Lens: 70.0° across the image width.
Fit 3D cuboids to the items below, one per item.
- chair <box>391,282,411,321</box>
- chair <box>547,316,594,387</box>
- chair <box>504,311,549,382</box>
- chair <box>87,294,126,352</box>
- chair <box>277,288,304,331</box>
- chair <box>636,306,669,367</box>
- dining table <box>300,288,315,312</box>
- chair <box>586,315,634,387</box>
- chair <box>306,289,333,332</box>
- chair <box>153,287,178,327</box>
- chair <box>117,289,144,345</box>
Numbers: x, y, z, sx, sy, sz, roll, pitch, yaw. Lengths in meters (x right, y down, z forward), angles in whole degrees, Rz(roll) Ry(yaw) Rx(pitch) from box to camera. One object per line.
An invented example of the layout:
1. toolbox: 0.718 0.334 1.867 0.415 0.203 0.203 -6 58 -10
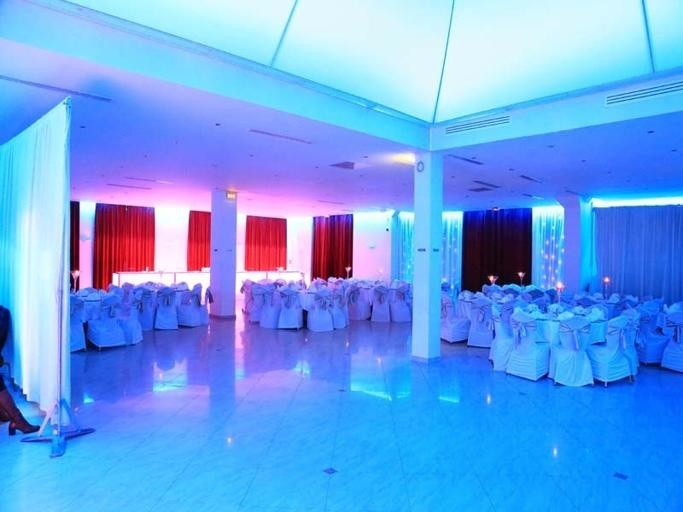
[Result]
1. chair: 1.564 1.261 13.208 0.642 1.008 0.725 4 2 21
2. chair: 3.608 1.418 7.626 0.625 1.033 0.692 -2 4 2
3. chair: 2.967 1.349 7.935 0.743 1.042 0.690 -15 17 -42
4. chair: -4.687 1.250 9.511 0.777 1.359 0.842 -1 4 -40
5. chair: -1.223 1.208 11.514 0.591 0.976 0.446 -1 7 -8
6. chair: 5.682 1.415 8.785 0.568 0.872 0.641 -2 4 -10
7. dining table: -0.817 1.054 11.513 0.412 0.445 0.347 -1 5 -16
8. chair: 4.225 1.457 7.689 0.585 0.986 0.678 -2 0 -14
9. chair: -0.495 1.275 11.552 0.757 1.329 0.794 2 -1 -4
10. chair: -4.113 1.277 11.447 0.538 0.938 0.588 2 -26 -21
11. chair: -4.349 1.157 9.926 0.616 1.018 0.664 -2 10 -30
